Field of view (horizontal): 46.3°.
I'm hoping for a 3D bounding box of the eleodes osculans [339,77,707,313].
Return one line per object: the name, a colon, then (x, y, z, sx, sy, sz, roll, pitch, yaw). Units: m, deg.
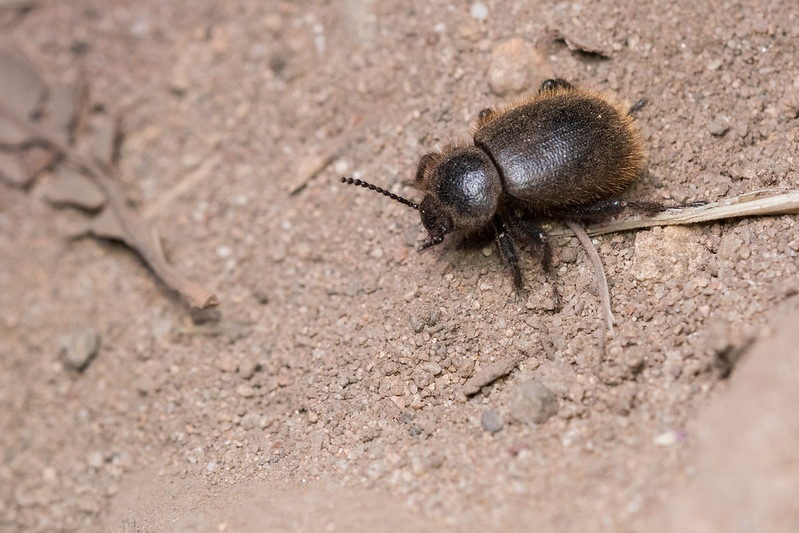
eleodes osculans: (0.723, -0.529, 4.790, 1.264, 1.166, 1.230, 5, 35, 23)
